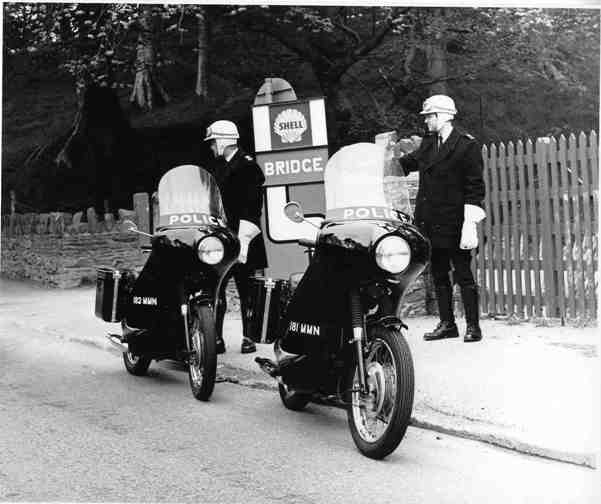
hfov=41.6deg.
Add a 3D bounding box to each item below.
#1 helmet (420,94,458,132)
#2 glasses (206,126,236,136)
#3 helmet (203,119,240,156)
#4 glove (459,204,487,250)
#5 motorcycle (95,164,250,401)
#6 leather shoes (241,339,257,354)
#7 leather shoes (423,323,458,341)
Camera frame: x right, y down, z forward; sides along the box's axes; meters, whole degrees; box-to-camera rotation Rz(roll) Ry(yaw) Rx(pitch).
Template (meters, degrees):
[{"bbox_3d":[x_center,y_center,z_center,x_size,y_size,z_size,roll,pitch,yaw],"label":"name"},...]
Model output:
[{"bbox_3d":[1.255,-1.283,7.294,0.365,0.352,0.285,3,11,2],"label":"helmet"},{"bbox_3d":[-0.776,-1.187,7.839,0.295,0.124,0.138,3,2,-8],"label":"glasses"},{"bbox_3d":[-0.794,-1.145,7.918,0.362,0.389,0.270,-6,18,-20],"label":"helmet"},{"bbox_3d":[1.524,-0.229,7.048,0.190,0.259,0.237,3,2,13],"label":"glove"},{"bbox_3d":[-1.120,0.229,6.795,0.679,1.962,1.528,1,2,-38],"label":"motorcycle"},{"bbox_3d":[-0.552,0.972,8.198,0.093,0.123,0.197,-2,-7,25],"label":"leather shoes"},{"bbox_3d":[1.270,0.745,7.466,0.390,0.184,0.141,0,2,-6],"label":"leather shoes"}]
